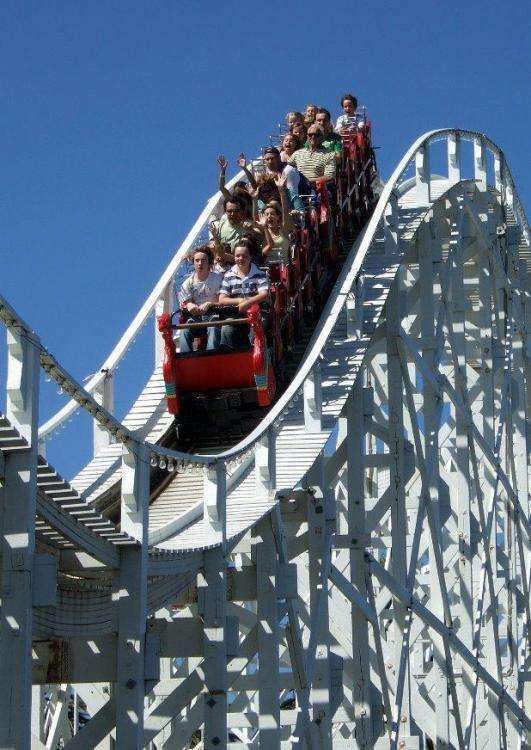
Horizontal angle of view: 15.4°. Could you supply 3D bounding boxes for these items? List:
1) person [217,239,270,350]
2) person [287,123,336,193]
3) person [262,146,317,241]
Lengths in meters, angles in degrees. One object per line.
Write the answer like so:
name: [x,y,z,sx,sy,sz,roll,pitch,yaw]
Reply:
person: [-0.176,-0.611,15.041,0.397,1.050,0.781,-3,-17,-1]
person: [0.427,-2.113,18.661,0.435,0.866,0.450,5,-23,-3]
person: [0.213,-1.513,17.282,0.249,1.030,0.293,-11,-11,18]
